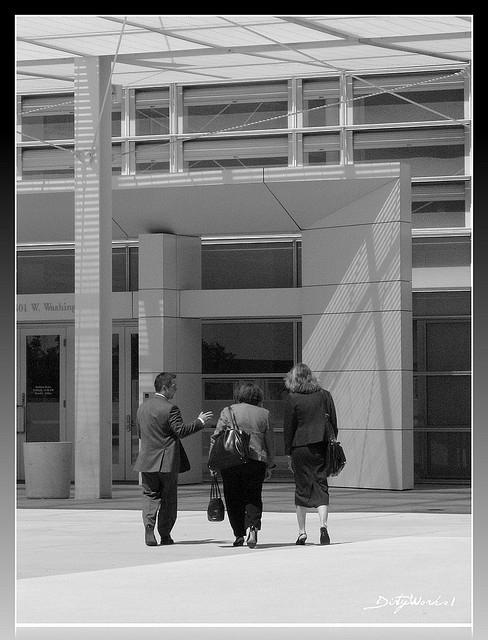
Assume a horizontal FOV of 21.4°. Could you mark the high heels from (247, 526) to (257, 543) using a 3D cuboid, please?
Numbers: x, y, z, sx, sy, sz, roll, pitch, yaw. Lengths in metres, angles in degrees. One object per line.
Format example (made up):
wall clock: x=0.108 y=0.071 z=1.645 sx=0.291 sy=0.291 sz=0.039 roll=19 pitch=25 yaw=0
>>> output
high heels: x=0.077 y=1.977 z=11.755 sx=0.085 sy=0.172 sz=0.156 roll=0 pitch=-6 yaw=0

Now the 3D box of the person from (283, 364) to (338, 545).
person: x=0.622 y=1.239 z=12.007 sx=0.476 sy=1.700 sz=0.378 roll=0 pitch=-5 yaw=3

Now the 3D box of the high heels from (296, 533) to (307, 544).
high heels: x=0.544 y=2.036 z=11.989 sx=0.061 sy=0.094 sz=0.122 roll=2 pitch=-2 yaw=-19

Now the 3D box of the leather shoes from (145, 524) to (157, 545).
leather shoes: x=-0.857 y=2.016 z=12.066 sx=0.113 sy=0.199 sz=0.202 roll=1 pitch=-6 yaw=-4

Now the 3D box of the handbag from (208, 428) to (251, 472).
handbag: x=-0.108 y=1.182 z=11.703 sx=0.259 sy=0.307 sz=0.118 roll=-11 pitch=-21 yaw=26

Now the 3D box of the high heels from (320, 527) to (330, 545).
high heels: x=0.751 y=1.989 z=11.903 sx=0.060 sy=0.195 sz=0.072 roll=-2 pitch=14 yaw=8

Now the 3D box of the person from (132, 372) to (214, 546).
person: x=-0.723 y=1.289 z=12.122 sx=0.557 sy=1.660 sz=0.926 roll=3 pitch=-6 yaw=-21
